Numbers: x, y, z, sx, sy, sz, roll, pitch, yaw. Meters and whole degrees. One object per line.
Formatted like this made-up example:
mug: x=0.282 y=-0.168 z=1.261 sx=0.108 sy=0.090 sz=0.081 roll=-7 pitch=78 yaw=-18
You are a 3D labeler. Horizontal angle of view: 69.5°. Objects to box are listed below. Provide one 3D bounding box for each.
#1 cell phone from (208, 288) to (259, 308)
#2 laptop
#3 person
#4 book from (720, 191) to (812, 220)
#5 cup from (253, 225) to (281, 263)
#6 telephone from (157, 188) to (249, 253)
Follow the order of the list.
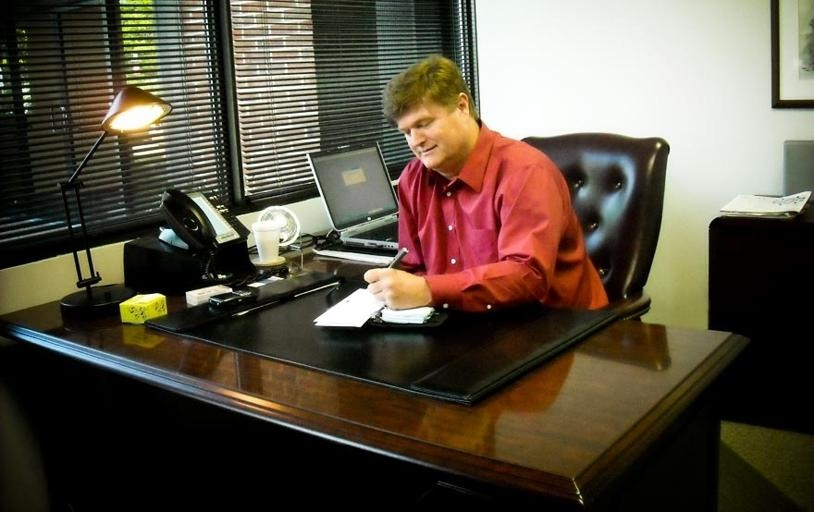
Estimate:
cell phone: x=-0.607 y=0.143 z=2.031 sx=0.122 sy=0.027 sz=0.070 roll=-15 pitch=16 yaw=-38
laptop: x=-0.279 y=-0.318 z=2.876 sx=0.579 sy=0.491 sz=0.361 roll=-12 pitch=18 yaw=-40
person: x=0.229 y=-0.212 z=2.228 sx=0.837 sy=0.929 sz=1.102 roll=-1 pitch=7 yaw=26
book: x=1.728 y=-0.249 z=2.794 sx=0.293 sy=0.072 sz=0.407 roll=8 pitch=19 yaw=41
cup: x=-0.587 y=-0.053 z=2.518 sx=0.155 sy=0.155 sz=0.145 roll=-4 pitch=7 yaw=1
telephone: x=-0.782 y=-0.155 z=2.287 sx=0.241 sy=0.172 sz=0.350 roll=20 pitch=17 yaw=14
